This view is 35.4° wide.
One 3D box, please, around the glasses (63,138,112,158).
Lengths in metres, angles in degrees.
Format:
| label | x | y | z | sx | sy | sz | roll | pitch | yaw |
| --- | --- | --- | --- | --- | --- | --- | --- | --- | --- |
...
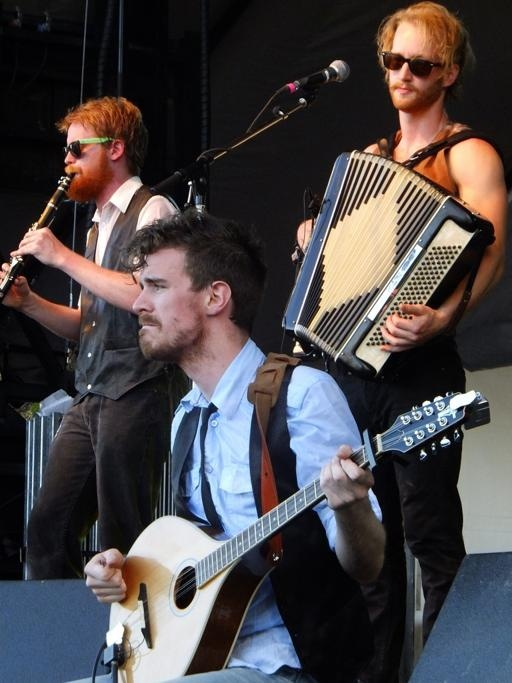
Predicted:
| label | x | y | z | sx | sy | sz | roll | pitch | yaw |
| --- | --- | --- | --- | --- | --- | --- | --- | --- | --- |
| glasses | -0.632 | -0.719 | 2.970 | 0.111 | 0.031 | 0.103 | -6 | -1 | -18 |
